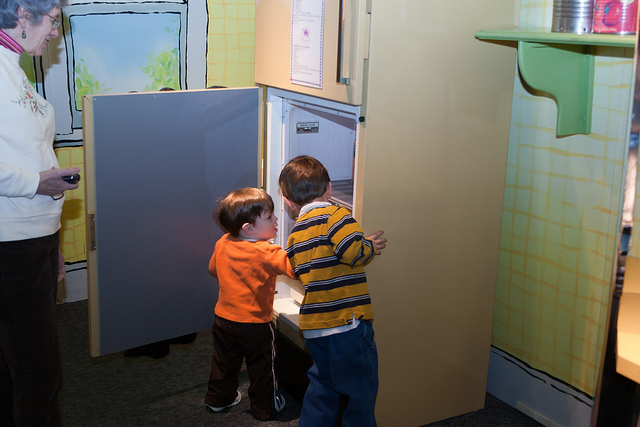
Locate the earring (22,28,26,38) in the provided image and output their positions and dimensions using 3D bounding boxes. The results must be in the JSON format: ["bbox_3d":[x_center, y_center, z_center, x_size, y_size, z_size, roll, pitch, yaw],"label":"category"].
[{"bbox_3d":[-1.178,-0.721,1.828,0.014,0.034,0.010,9,17,37],"label":"earring"}]

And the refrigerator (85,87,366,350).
[{"bbox_3d":[-0.503,0.111,2.903,1.049,1.558,1.624,12,13,35],"label":"refrigerator"}]

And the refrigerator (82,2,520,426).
[{"bbox_3d":[-0.193,-0.403,3.492,2.703,3.242,1.579,-4,13,-24],"label":"refrigerator"}]
